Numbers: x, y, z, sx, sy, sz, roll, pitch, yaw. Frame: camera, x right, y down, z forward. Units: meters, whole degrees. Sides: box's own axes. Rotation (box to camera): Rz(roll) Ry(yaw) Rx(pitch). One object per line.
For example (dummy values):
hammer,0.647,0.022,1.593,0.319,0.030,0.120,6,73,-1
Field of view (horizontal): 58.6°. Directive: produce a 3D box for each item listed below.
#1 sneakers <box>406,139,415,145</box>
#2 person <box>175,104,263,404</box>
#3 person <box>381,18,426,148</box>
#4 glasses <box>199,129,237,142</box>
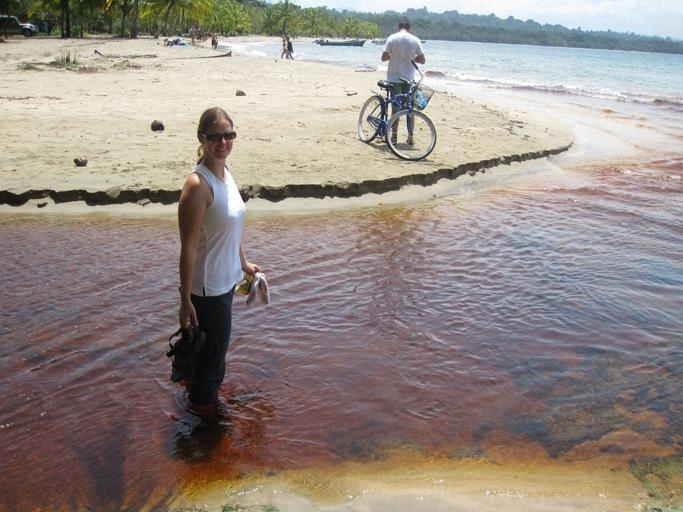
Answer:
sneakers,1.401,-2.286,12.247,0.133,0.121,0.107,1,62,-3
person,-1.018,0.140,4.856,0.594,2.510,0.764,8,27,-3
person,1.200,-3.410,12.068,0.935,2.433,1.367,9,25,0
glasses,-0.908,-0.910,4.629,0.259,0.076,0.096,-6,25,-27
